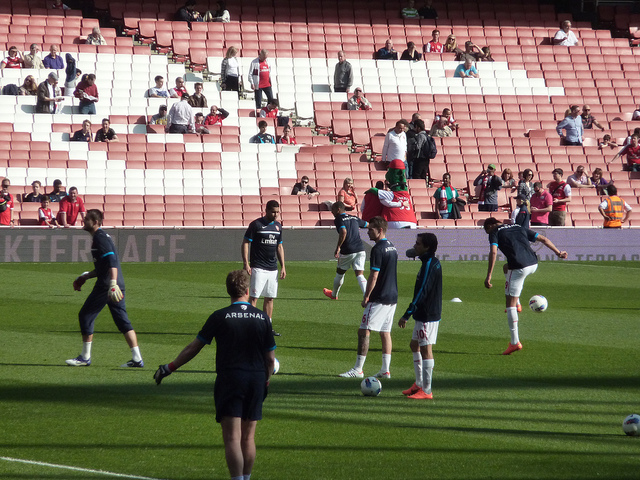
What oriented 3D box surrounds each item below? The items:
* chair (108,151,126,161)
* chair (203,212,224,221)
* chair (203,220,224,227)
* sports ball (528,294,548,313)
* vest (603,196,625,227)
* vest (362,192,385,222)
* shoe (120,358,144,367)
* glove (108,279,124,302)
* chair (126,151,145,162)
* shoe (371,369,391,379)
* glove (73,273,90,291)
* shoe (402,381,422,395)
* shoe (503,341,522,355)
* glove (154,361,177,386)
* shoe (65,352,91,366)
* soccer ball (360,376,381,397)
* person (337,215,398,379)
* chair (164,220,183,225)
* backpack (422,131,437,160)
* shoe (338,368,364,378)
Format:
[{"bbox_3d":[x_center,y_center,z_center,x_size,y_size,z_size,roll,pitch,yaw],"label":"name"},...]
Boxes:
[{"bbox_3d":[-6.837,-2.816,48.731,0.439,0.204,0.345,2,9,-6],"label":"chair"},{"bbox_3d":[-3.516,-0.740,47.907,0.687,0.268,0.211,2,7,-5],"label":"chair"},{"bbox_3d":[-3.502,-0.527,47.817,0.665,0.171,0.176,0,7,-17],"label":"chair"},{"bbox_3d":[5.691,1.715,37.456,0.363,0.365,0.360,-33,-7,-5],"label":"sports ball"},{"bbox_3d":[9.767,-0.918,47.810,0.578,1.015,0.548,4,7,19],"label":"vest"},{"bbox_3d":[1.620,-0.974,43.055,0.710,0.864,0.498,1,7,-10],"label":"vest"},{"bbox_3d":[-4.385,2.910,33.726,0.534,0.213,0.179,4,-3,2],"label":"shoe"},{"bbox_3d":[-4.734,1.227,33.215,0.327,0.468,0.197,-28,-12,-11],"label":"glove"},{"bbox_3d":[-6.245,-2.804,48.823,0.429,0.385,0.417,4,6,29],"label":"chair"},{"bbox_3d":[1.445,3.168,33.500,0.479,0.205,0.164,3,2,4],"label":"shoe"},{"bbox_3d":[-5.617,0.972,33.882,0.311,0.415,0.153,40,19,-31],"label":"glove"},{"bbox_3d":[2.126,3.465,32.742,0.484,0.211,0.179,-1,-4,19],"label":"shoe"},{"bbox_3d":[4.746,2.673,35.196,0.407,0.343,0.351,3,7,7],"label":"shoe"},{"bbox_3d":[-3.185,2.752,29.927,0.807,0.272,0.245,-33,-48,27],"label":"glove"},{"bbox_3d":[-5.626,2.878,33.762,0.641,0.321,0.215,3,-5,-6],"label":"shoe"},{"bbox_3d":[1.172,3.383,32.649,0.457,0.414,0.255,2,7,1],"label":"soccer ball"},{"bbox_3d":[1.302,1.408,33.318,0.969,3.790,0.507,2,7,3],"label":"person"},{"bbox_3d":[-4.811,-0.547,47.537,0.604,0.141,0.126,1,7,-13],"label":"chair"},{"bbox_3d":[3.724,-3.161,48.883,0.415,0.946,0.690,6,8,27],"label":"backpack"},{"bbox_3d":[0.769,3.161,33.670,0.648,0.269,0.222,3,-5,0],"label":"shoe"}]
